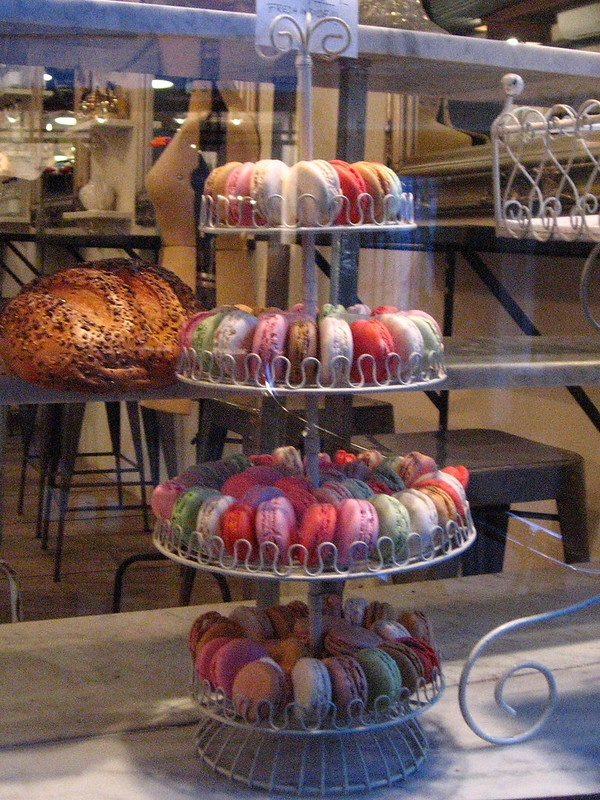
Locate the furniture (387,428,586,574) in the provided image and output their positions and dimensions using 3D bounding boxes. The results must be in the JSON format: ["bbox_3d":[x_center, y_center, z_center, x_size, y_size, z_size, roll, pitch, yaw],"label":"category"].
[{"bbox_3d":[0.208,0.100,0.962,0.233,0.196,0.217,-1,1,-24],"label":"furniture"}]

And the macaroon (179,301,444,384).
[{"bbox_3d":[0.011,-0.046,0.615,0.229,0.061,0.120,-3,14,-10],"label":"macaroon"}]
